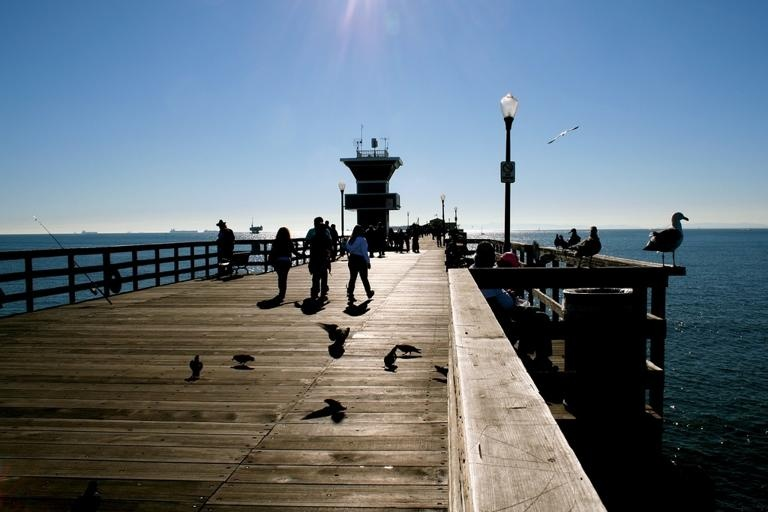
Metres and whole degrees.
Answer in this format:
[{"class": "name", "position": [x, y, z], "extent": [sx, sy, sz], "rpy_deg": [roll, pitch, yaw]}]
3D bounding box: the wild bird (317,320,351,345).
[{"class": "wild bird", "position": [-0.920, 1.418, 11.646], "extent": [0.302, 0.427, 0.541], "rpy_deg": [2, 11, -11]}]

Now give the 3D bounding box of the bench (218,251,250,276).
[{"class": "bench", "position": [-5.815, 0.293, 24.332], "extent": [0.995, 1.276, 0.958], "rpy_deg": [-1, 34, -14]}]

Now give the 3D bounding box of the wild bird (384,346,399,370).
[{"class": "wild bird", "position": [0.101, 1.767, 10.928], "extent": [0.181, 0.351, 0.146], "rpy_deg": [19, -31, -32]}]

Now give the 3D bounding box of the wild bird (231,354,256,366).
[{"class": "wild bird", "position": [-2.459, 1.763, 10.991], "extent": [0.409, 0.181, 0.297], "rpy_deg": [2, 14, 3]}]

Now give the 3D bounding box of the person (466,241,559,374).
[{"class": "person", "position": [2.475, 1.005, 11.830], "extent": [1.523, 2.347, 1.146], "rpy_deg": [6, 14, 21]}]
